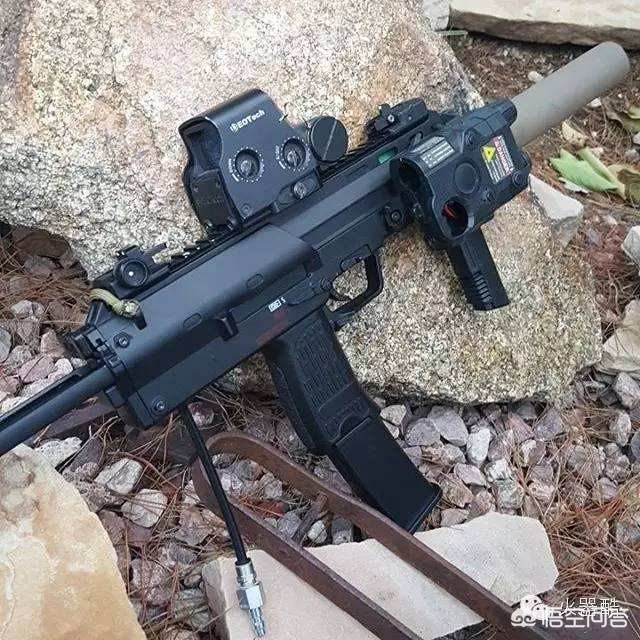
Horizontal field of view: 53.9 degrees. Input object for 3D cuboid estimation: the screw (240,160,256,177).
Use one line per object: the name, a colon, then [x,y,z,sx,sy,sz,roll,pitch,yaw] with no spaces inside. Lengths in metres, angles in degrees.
screw: [-0.217,-0.456,1.893,0.056,0.014,0.050,-7,103,-41]
